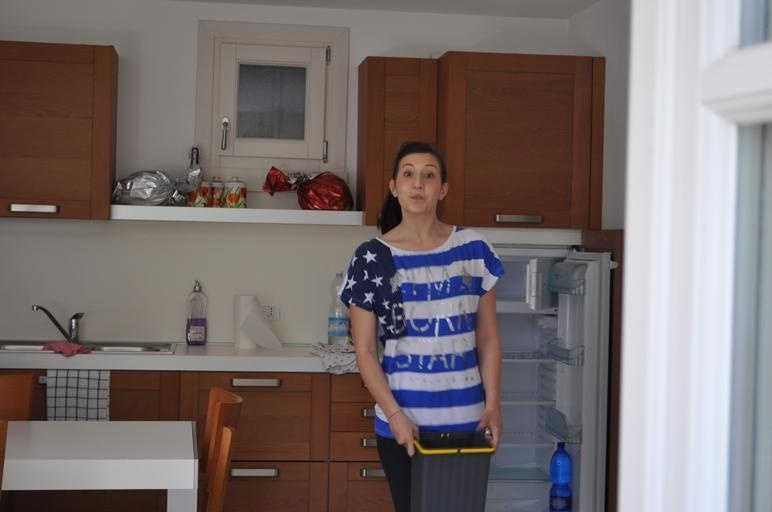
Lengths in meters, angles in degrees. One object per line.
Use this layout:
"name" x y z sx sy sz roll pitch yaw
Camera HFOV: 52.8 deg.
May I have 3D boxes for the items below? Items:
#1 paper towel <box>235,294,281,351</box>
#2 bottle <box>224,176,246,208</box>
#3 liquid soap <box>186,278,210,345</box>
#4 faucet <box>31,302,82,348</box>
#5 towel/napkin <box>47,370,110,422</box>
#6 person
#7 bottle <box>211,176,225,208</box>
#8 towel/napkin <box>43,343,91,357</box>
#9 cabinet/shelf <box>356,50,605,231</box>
"paper towel" -0.641 0.331 3.966 0.260 0.262 0.189 4 11 8
"bottle" -0.761 -0.322 3.933 0.129 0.207 0.123 0 -8 0
"liquid soap" -0.990 0.294 4.058 0.117 0.320 0.103 -3 6 -18
"faucet" -1.695 0.349 3.959 0.251 0.200 0.116 0 5 10
"towel/napkin" -1.425 0.645 3.583 0.273 0.233 0.014 4 8 -14
"person" 0.162 0.112 2.612 0.466 0.980 0.441 -6 7 -40
"bottle" -0.852 -0.316 3.956 0.068 0.137 0.075 -1 5 0
"towel/napkin" -1.508 0.436 3.648 0.250 0.048 0.136 2 6 37
"cabinet/shelf" 0.473 -0.533 4.041 1.135 0.865 0.640 1 -2 -4
